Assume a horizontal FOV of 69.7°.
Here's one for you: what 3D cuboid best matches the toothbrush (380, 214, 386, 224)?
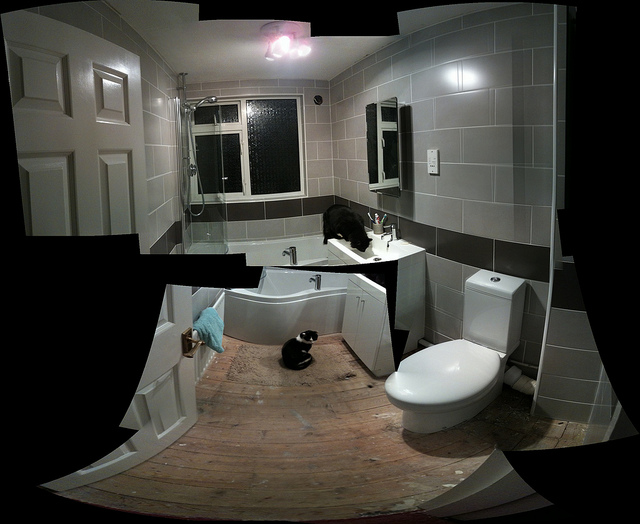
[{"bbox_3d":[0.113,-0.077,0.811,0.004,0.018,0.001,31,-3,-31],"label":"toothbrush"}]

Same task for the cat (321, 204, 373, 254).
[{"bbox_3d":[0.037,-0.071,0.835,0.098,0.065,0.057,32,35,33],"label":"cat"}]

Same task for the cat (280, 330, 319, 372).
[{"bbox_3d":[-0.036,0.164,0.862,0.071,0.080,0.059,1,9,-1],"label":"cat"}]
